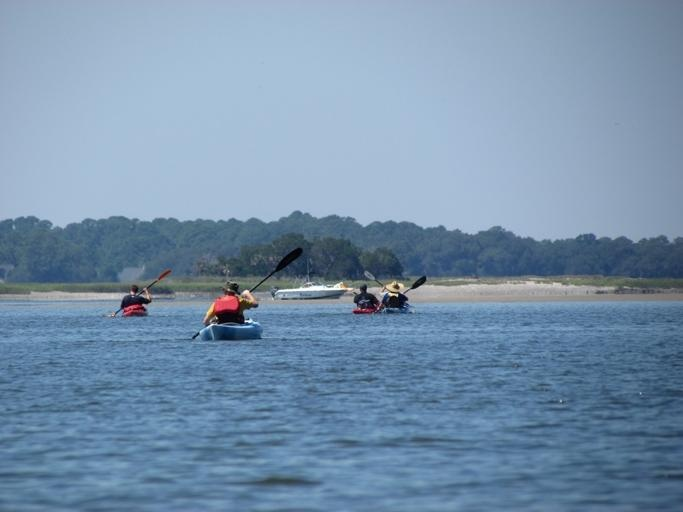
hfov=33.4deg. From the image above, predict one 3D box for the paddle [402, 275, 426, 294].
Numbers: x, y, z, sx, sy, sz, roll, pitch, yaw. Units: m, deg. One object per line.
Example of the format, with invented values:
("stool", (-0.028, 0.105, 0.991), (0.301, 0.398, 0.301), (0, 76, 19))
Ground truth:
("paddle", (7.440, 2.811, 116.376), (3.214, 0.358, 0.355), (-38, -6, 34))
